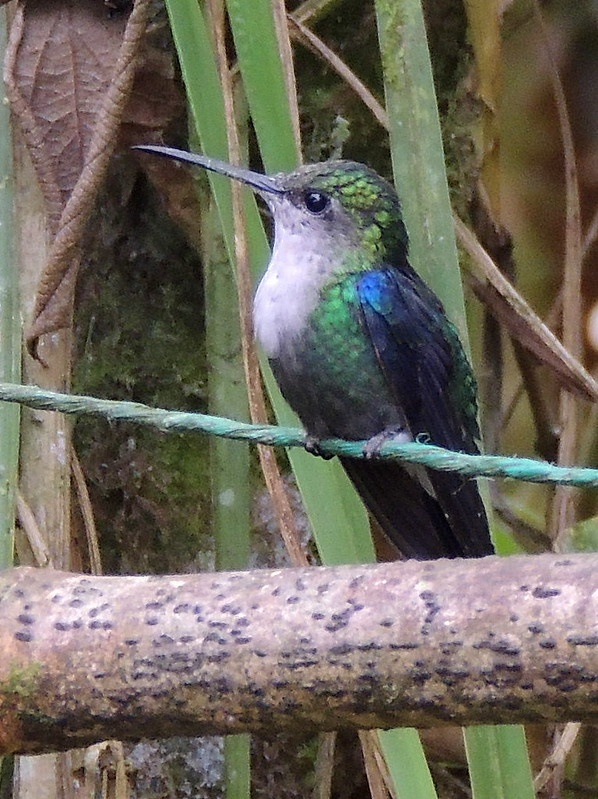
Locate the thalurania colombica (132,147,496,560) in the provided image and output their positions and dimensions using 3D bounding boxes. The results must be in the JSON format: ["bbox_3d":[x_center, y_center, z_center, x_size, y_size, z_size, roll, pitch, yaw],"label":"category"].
[{"bbox_3d":[0.096,-0.060,3.642,0.885,0.751,0.344,4,-4,-43],"label":"thalurania colombica"}]
